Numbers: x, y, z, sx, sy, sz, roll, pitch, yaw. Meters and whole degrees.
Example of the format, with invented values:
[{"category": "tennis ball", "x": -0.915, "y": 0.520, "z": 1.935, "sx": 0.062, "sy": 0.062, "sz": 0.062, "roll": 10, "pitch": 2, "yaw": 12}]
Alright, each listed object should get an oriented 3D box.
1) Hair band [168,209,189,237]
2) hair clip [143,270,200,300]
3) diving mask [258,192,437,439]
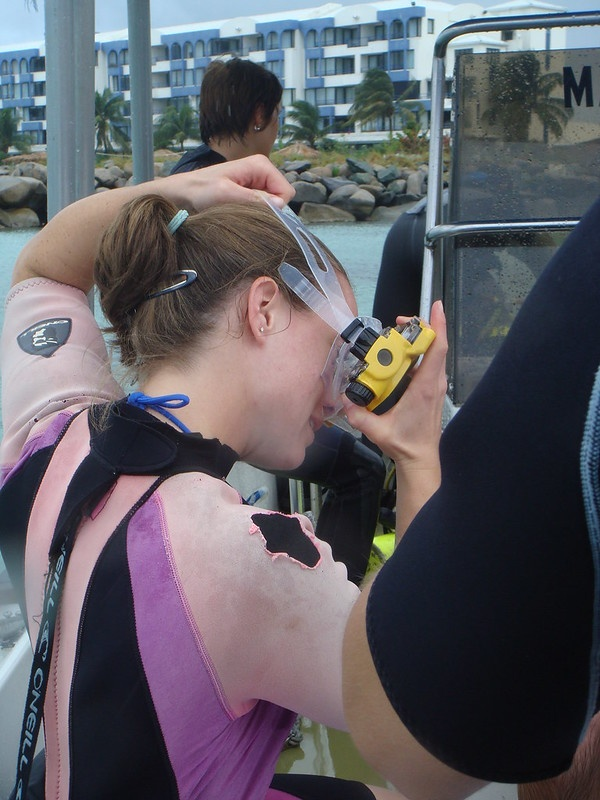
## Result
[{"category": "Hair band", "x": -0.158, "y": -0.231, "z": 1.027, "sx": 0.031, "sy": 0.013, "sz": 0.032, "roll": 17, "pitch": 75, "yaw": 56}, {"category": "hair clip", "x": -0.160, "y": -0.140, "z": 0.970, "sx": 0.054, "sy": 0.010, "sz": 0.029, "roll": -15, "pitch": 31, "yaw": 23}, {"category": "diving mask", "x": 0.023, "y": -0.109, "z": 1.126, "sx": 0.193, "sy": 0.336, "sz": 0.137, "roll": -51, "pitch": 9, "yaw": -29}]
